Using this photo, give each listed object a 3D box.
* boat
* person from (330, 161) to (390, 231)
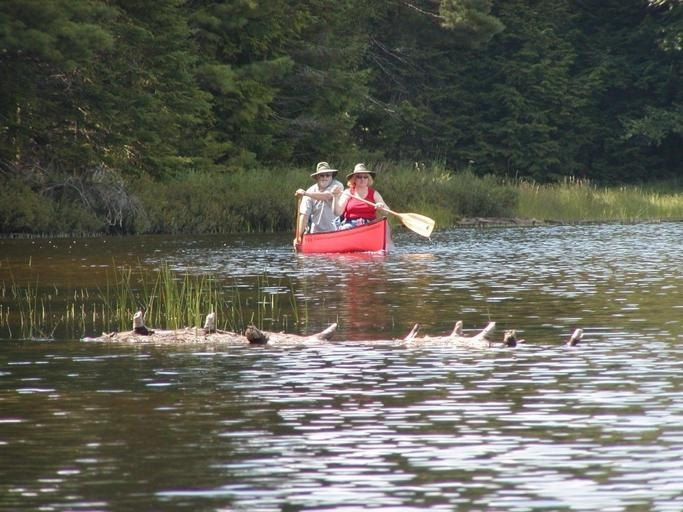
[{"bbox_3d":[0.045,-0.387,28.788,1.411,0.505,0.772,-2,0,33],"label":"boat"},{"bbox_3d":[0.295,-0.714,28.344,1.085,2.023,1.078,-1,6,1],"label":"person"}]
